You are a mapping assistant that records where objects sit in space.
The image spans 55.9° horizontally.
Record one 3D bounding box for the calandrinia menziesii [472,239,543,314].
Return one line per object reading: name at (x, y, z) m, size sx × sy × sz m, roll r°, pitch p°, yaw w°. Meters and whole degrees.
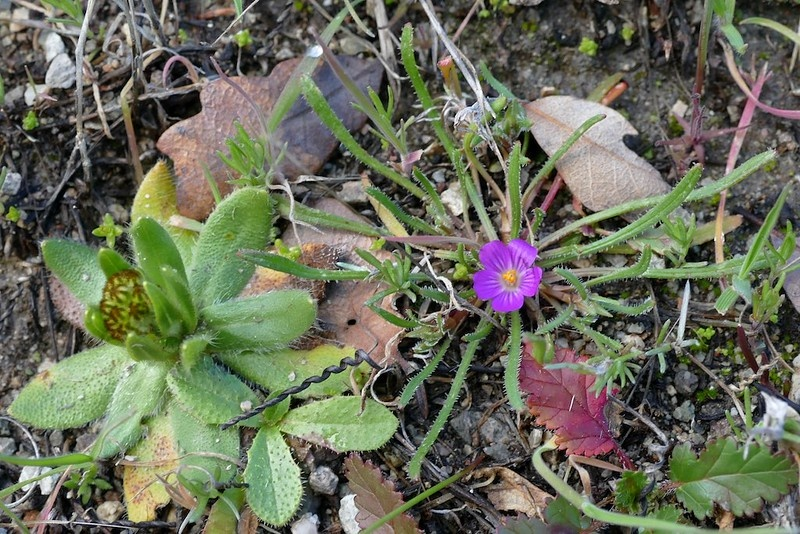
calandrinia menziesii at (0.414, 0.024, 2.911) m, size 0.262 × 0.136 × 0.294 m, roll -26°, pitch 50°, yaw 11°
